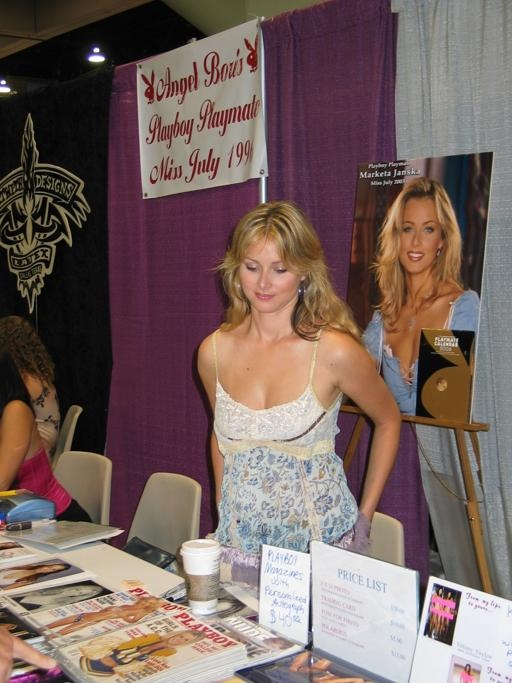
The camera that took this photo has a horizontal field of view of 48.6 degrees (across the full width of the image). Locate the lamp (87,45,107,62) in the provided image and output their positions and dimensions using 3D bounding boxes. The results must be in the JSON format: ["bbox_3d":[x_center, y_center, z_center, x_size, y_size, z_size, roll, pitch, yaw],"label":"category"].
[{"bbox_3d":[-1.541,-2.741,5.436,0.164,0.094,0.159,-3,1,-2],"label":"lamp"}]

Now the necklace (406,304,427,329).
[{"bbox_3d":[0.594,-0.094,2.088,0.012,0.137,0.051,2,19,-35],"label":"necklace"}]
